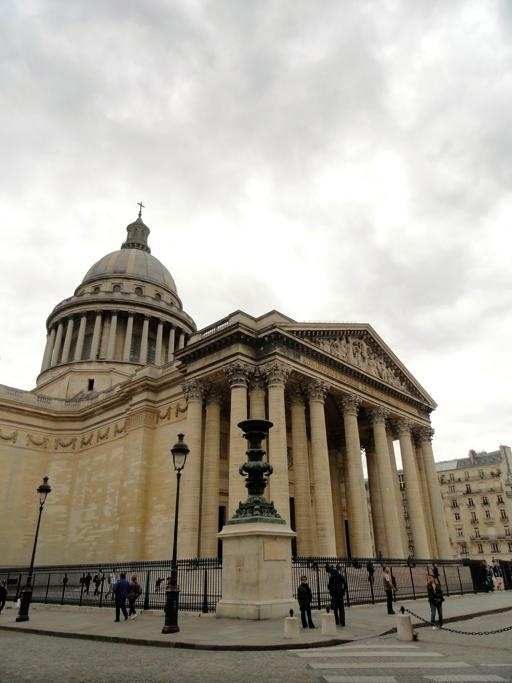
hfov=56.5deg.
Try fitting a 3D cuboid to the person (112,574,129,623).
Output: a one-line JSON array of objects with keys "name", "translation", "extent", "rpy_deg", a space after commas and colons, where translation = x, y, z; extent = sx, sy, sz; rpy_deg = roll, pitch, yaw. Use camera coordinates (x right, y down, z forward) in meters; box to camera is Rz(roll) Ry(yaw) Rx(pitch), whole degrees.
[{"name": "person", "translation": [-4.681, 8.765, 16.590], "extent": [0.548, 1.414, 2.166], "rpy_deg": [5, -24, -14]}]

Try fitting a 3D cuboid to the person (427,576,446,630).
[{"name": "person", "translation": [5.138, 7.277, 13.615], "extent": [0.429, 1.324, 2.566], "rpy_deg": [-9, -24, 16]}]
